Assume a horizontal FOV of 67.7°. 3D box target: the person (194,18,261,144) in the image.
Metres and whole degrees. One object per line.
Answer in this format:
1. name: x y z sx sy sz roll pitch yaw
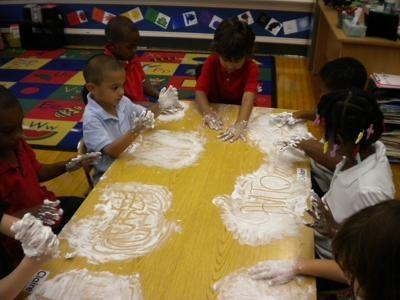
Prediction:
1. person: 0.205 -0.498 2.194 0.431 0.794 0.797 2 42 -3

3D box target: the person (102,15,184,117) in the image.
1. person: -0.486 -0.640 2.395 0.548 0.746 0.426 14 30 15
